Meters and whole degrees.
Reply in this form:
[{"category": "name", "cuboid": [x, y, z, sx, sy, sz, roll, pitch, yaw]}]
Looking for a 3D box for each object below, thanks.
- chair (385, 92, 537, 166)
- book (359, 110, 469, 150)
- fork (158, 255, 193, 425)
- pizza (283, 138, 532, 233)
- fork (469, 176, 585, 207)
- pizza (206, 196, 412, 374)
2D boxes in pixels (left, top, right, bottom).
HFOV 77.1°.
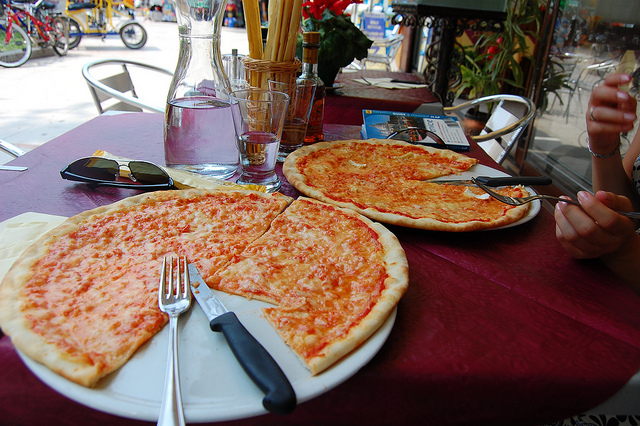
[{"category": "chair", "cuboid": [0.738, -0.485, 2.257, 0.578, 0.420, 0.472, 15, 4, 15]}, {"category": "book", "cuboid": [0.337, -0.305, 1.462, 0.311, 0.049, 0.196, 4, 32, -1]}, {"category": "fork", "cuboid": [-0.229, 0.166, 0.681, 0.049, 0.040, 0.345, 2, 43, -15]}, {"category": "pizza", "cuboid": [0.216, -0.064, 1.088, 0.413, 0.041, 0.380, -1, 23, -6]}, {"category": "fork", "cuboid": [0.511, -0.032, 0.969, 0.292, 0.038, 0.039, 10, 76, -7]}, {"category": "pizza", "cuboid": [-0.013, 0.102, 0.801, 0.358, 0.046, 0.515, 0, 30, 0]}]
